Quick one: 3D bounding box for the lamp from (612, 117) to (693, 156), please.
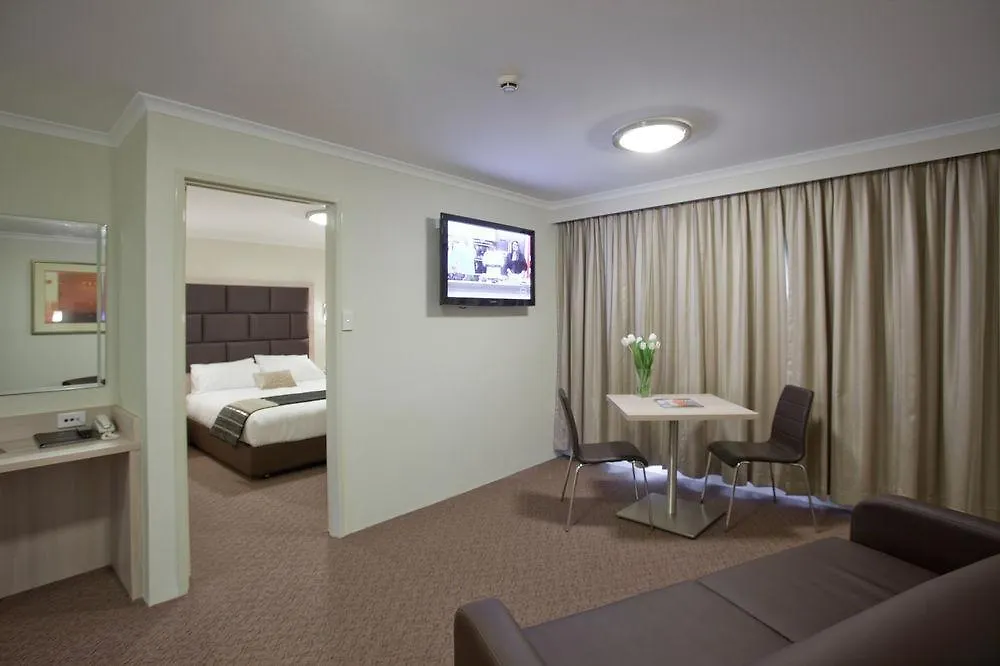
[{"bbox_3d":[1.123,-1.457,4.617,0.553,0.108,0.395,0,1,8],"label":"lamp"}]

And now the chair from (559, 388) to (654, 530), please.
[{"bbox_3d":[0.855,1.009,5.449,1.009,1.422,0.870,-5,-4,8],"label":"chair"}]

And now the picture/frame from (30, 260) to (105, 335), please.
[{"bbox_3d":[-3.002,-0.254,4.337,0.469,0.479,0.066,-1,3,-4],"label":"picture/frame"}]

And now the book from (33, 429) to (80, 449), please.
[{"bbox_3d":[-2.947,0.695,4.192,0.244,0.082,0.290,-1,1,-37],"label":"book"}]

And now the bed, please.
[{"bbox_3d":[-2.450,1.004,6.954,1.990,0.727,1.465,1,1,44],"label":"bed"}]

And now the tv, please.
[{"bbox_3d":[-0.140,-0.652,5.632,0.069,0.591,0.912,1,1,45],"label":"tv"}]

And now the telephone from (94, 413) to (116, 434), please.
[{"bbox_3d":[-2.693,0.615,4.300,0.178,0.069,0.111,23,15,36],"label":"telephone"}]

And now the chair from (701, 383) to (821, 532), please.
[{"bbox_3d":[2.162,0.969,5.453,0.971,1.508,0.972,2,-2,-2],"label":"chair"}]

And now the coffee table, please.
[{"bbox_3d":[1.402,1.061,5.138,1.038,1.056,1.060,1,1,-18],"label":"coffee table"}]
